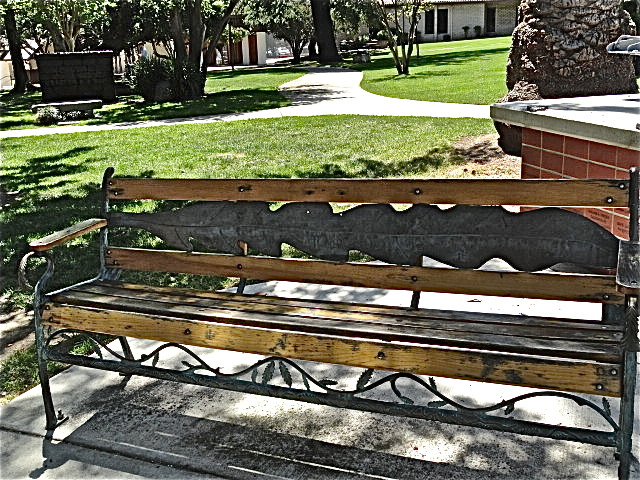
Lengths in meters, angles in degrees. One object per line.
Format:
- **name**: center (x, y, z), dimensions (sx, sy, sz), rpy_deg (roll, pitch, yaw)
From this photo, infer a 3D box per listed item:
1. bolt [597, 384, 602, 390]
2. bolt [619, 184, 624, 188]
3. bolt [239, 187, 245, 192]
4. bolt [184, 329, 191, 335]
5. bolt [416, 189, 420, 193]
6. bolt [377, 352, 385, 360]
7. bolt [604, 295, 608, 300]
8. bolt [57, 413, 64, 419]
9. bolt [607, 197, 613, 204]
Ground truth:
- **bolt**: center (1.141, 0.604, 2.311), dimensions (0.029, 0.020, 0.009), rpy_deg (-11, -6, 16)
- **bolt**: center (1.395, -0.249, 2.616), dimensions (0.026, 0.018, 0.008), rpy_deg (-3, 7, 19)
- **bolt**: center (-0.458, -0.289, 3.243), dimensions (0.030, 0.019, 0.006), rpy_deg (-1, 4, 19)
- **bolt**: center (-0.679, 0.469, 2.852), dimensions (0.045, 0.021, 0.009), rpy_deg (-1, 1, 7)
- **bolt**: center (0.504, -0.252, 2.943), dimensions (0.027, 0.017, 0.005), rpy_deg (0, -11, 1)
- **bolt**: center (0.270, 0.529, 2.565), dimensions (0.059, 0.027, 0.012), rpy_deg (6, 3, 13)
- **bolt**: center (1.407, 0.285, 2.785), dimensions (0.014, 0.022, 0.011), rpy_deg (-2, 22, 5)
- **bolt**: center (-1.478, 0.998, 3.188), dimensions (0.042, 0.025, 0.009), rpy_deg (-1, -18, 1)
- **bolt**: center (1.351, -0.182, 2.636), dimensions (0.042, 0.028, 0.009), rpy_deg (1, -6, 18)
